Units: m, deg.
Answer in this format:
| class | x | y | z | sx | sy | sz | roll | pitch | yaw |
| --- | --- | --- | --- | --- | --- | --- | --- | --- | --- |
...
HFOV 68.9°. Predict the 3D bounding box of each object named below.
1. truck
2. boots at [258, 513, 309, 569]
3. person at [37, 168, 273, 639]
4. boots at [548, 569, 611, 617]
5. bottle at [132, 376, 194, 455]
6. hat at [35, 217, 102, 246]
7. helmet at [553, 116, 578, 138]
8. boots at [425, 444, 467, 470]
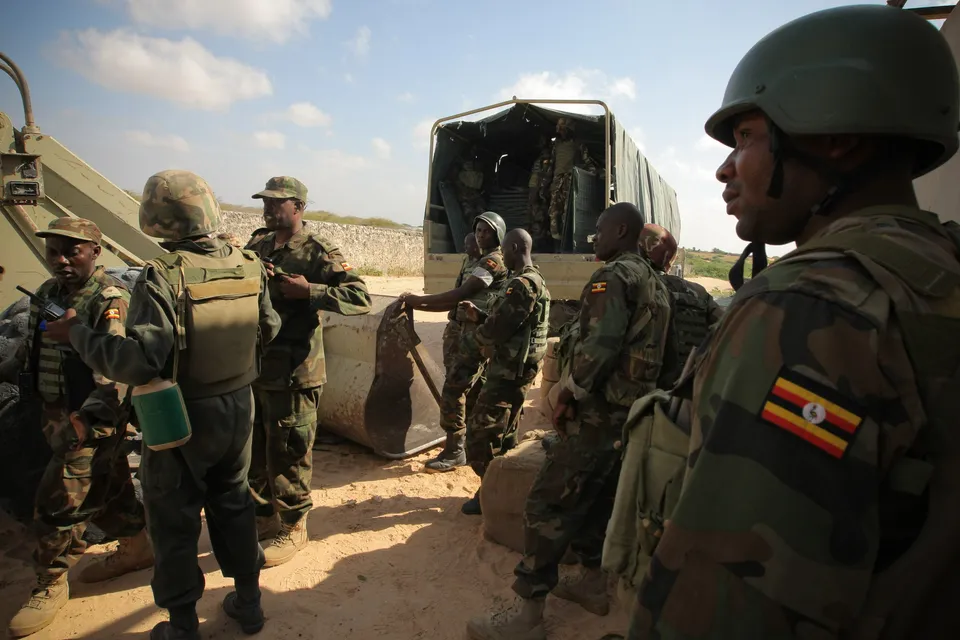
| class | x | y | z | sx | sy | sz | roll | pitch | yaw |
| --- | --- | --- | --- | --- | --- | --- | --- | --- | --- |
| truck | 2.002 | -1.678 | 12.457 | 3.281 | 3.407 | 6.441 | 3 | 9 | 26 |
| boots | -1.245 | 1.382 | 4.487 | 0.151 | 0.241 | 0.399 | 6 | 10 | 27 |
| person | -1.497 | 0.468 | 3.549 | 0.876 | 2.394 | 0.572 | -6 | 13 | -34 |
| boots | 0.602 | 1.494 | 3.915 | 0.403 | 0.169 | 0.148 | 10 | -3 | 33 |
| bottle | -1.494 | 0.434 | 3.274 | 0.213 | 0.319 | 0.179 | -12 | 13 | -12 |
| hat | -2.231 | -0.491 | 3.882 | 0.202 | 0.079 | 0.268 | 3 | -2 | 6 |
| helmet | 1.210 | -2.761 | 10.012 | 0.187 | 0.203 | 0.221 | -2 | -20 | 9 |
| boots | -0.318 | 1.185 | 6.082 | 0.372 | 0.242 | 0.164 | 7 | -6 | -8 |
